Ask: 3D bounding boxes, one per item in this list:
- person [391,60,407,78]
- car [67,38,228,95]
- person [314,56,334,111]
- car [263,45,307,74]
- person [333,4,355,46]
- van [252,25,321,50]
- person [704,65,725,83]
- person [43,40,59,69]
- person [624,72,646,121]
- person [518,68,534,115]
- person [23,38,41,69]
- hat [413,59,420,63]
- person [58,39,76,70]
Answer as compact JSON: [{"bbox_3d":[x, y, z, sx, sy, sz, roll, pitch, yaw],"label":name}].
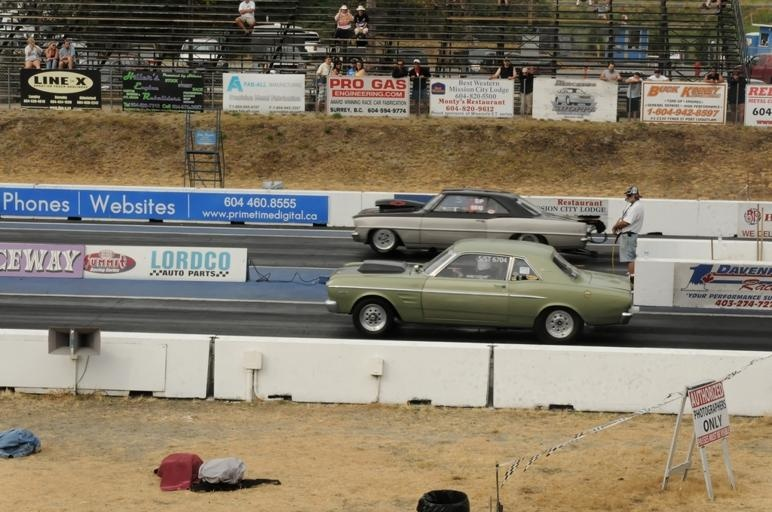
[{"bbox_3d":[0.566,-7.438,80.675,0.578,0.313,0.771,-2,-2,3],"label":"person"},{"bbox_3d":[-9.528,-7.929,83.349,5.931,1.992,3.334,-2,8,-4],"label":"car"},{"bbox_3d":[-2.489,-6.891,81.148,0.762,2.186,0.850,-2,9,-2],"label":"person"},{"bbox_3d":[-4.122,-8.141,83.507,1.954,0.775,1.070,1,13,-4],"label":"car"},{"bbox_3d":[-1.696,-9.561,83.535,0.804,1.669,0.940,-2,9,-2],"label":"person"},{"bbox_3d":[-4.094,-9.143,84.482,2.639,0.793,1.193,0,15,0],"label":"van"},{"bbox_3d":[13.288,-7.281,81.131,0.834,0.657,1.082,0,10,17],"label":"person"},{"bbox_3d":[-13.494,-8.080,81.124,0.619,1.019,2.438,-3,8,-9],"label":"person"},{"bbox_3d":[9.918,-6.320,80.471,0.628,1.734,0.641,-5,10,-17],"label":"person"},{"bbox_3d":[5.674,-6.508,80.738,0.618,1.738,0.395,-1,9,6],"label":"person"},{"bbox_3d":[-14.307,-8.207,81.378,0.711,1.155,3.039,-3,8,-9],"label":"person"},{"bbox_3d":[1.275,-7.952,82.233,0.298,0.145,0.460,2,7,8],"label":"hat"},{"bbox_3d":[-12.874,-8.101,80.918,0.692,1.092,1.850,-3,9,-9],"label":"person"}]
